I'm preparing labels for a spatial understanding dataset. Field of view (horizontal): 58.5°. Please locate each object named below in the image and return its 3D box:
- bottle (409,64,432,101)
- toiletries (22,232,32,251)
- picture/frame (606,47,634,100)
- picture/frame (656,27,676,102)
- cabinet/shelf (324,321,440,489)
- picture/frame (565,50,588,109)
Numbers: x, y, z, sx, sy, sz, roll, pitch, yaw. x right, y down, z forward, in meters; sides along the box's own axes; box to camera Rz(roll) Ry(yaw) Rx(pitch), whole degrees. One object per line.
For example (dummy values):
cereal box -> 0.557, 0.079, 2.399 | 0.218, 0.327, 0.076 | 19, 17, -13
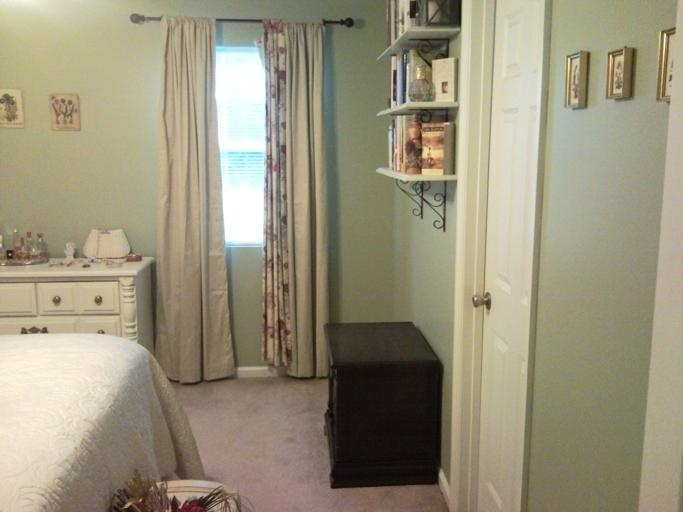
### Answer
bottle -> 0.370, -0.819, 2.878 | 0.110, 0.191, 0.181 | -2, 9, 8
toiletries -> -2.064, -0.095, 4.016 | 0.054, 0.128, 0.088 | -5, 9, -15
picture/frame -> 0.764, -0.496, 1.671 | 0.027, 0.138, 0.087 | -5, 9, -16
picture/frame -> 0.810, -0.473, 1.508 | 0.028, 0.181, 0.078 | -2, 9, 8
cabinet/shelf -> 0.202, 0.771, 3.425 | 0.586, 0.680, 0.890 | 1, 10, -1
picture/frame -> 0.720, -0.538, 1.867 | 0.045, 0.177, 0.105 | -3, 9, 1
